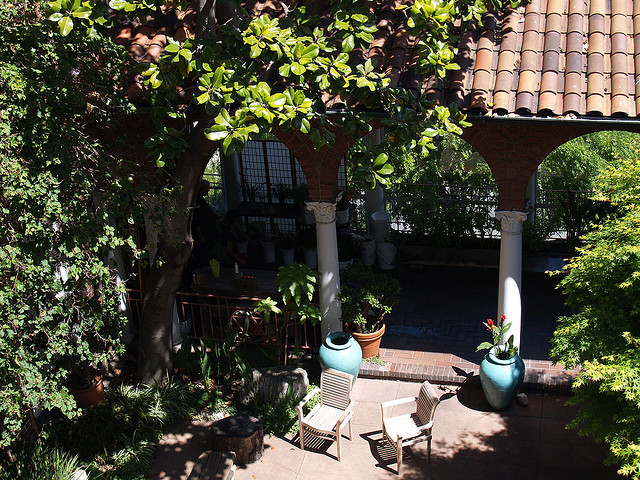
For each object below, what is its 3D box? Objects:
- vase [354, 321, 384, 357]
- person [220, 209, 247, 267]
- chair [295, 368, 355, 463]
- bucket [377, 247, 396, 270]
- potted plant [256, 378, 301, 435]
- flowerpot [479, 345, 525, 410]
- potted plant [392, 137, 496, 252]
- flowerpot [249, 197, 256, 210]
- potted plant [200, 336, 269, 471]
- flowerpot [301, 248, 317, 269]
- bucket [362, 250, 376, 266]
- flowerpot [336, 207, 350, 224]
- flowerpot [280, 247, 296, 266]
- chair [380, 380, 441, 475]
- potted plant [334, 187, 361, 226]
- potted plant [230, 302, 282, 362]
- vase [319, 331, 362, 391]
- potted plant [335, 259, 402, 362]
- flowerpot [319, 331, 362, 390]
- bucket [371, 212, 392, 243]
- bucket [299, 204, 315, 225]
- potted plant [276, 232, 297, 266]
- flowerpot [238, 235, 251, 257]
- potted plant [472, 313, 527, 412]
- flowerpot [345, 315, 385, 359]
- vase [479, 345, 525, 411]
[{"bbox_3d":[1.019,2.030,10.730,0.495,0.474,0.556,-1,34,11],"label":"vase"},{"bbox_3d":[-2.191,-0.083,13.251,0.581,1.400,1.567,0,1,-8],"label":"person"},{"bbox_3d":[0.116,2.982,8.972,0.928,1.303,1.025,-4,17,-11],"label":"chair"},{"bbox_3d":[1.797,0.475,13.971,0.377,0.469,0.463,9,41,14],"label":"bucket"},{"bbox_3d":[-0.758,2.992,9.506,0.701,0.858,0.600,0,1,-8],"label":"potted plant"},{"bbox_3d":[3.225,2.449,9.294,0.697,1.012,0.749,19,28,39],"label":"flowerpot"},{"bbox_3d":[3.477,-1.114,14.941,2.763,2.767,2.863,0,1,-2],"label":"potted plant"},{"bbox_3d":[-1.910,-1.078,14.973,0.213,0.336,0.117,0,1,19],"label":"flowerpot"},{"bbox_3d":[-1.545,2.810,9.715,1.290,1.899,3.066,0,1,-14],"label":"potted plant"},{"bbox_3d":[-0.229,0.410,13.748,0.402,0.544,0.456,0,21,2],"label":"flowerpot"},{"bbox_3d":[1.337,0.466,14.245,0.336,0.453,0.390,-4,46,3],"label":"bucket"},{"bbox_3d":[0.635,-0.657,14.107,0.452,0.380,0.171,-1,1,-42],"label":"flowerpot"},{"bbox_3d":[-0.835,0.392,13.791,0.350,0.448,0.353,0,1,3],"label":"flowerpot"},{"bbox_3d":[1.529,3.208,8.833,0.750,1.210,0.818,-5,29,-12],"label":"chair"},{"bbox_3d":[0.711,-0.946,14.022,0.675,0.956,0.846,-6,46,-5],"label":"potted plant"},{"bbox_3d":[-1.345,1.805,10.886,0.819,1.502,0.359,-16,-4,3],"label":"potted plant"},{"bbox_3d":[0.366,2.247,10.135,0.779,1.153,0.881,-1,22,1],"label":"vase"},{"bbox_3d":[0.965,1.492,10.601,1.169,1.866,1.166,7,34,22],"label":"potted plant"},{"bbox_3d":[0.400,2.155,10.081,0.785,1.181,0.898,1,20,4],"label":"flowerpot"},{"bbox_3d":[1.687,-0.420,14.407,0.649,0.919,0.677,-4,38,3],"label":"bucket"},{"bbox_3d":[-0.329,-0.725,14.003,0.211,0.556,0.693,-1,1,-32],"label":"bucket"},{"bbox_3d":[-0.882,0.202,13.971,0.523,0.838,0.712,0,1,-7],"label":"potted plant"},{"bbox_3d":[-2.030,0.067,13.983,0.266,0.429,0.412,0,1,-10],"label":"flowerpot"},{"bbox_3d":[3.241,2.191,9.381,0.702,1.621,0.737,-16,23,-38],"label":"potted plant"},{"bbox_3d":[0.938,1.969,10.876,0.713,0.612,0.758,-20,34,-15],"label":"flowerpot"},{"bbox_3d":[3.306,2.602,9.498,0.751,1.167,0.875,-4,2,4],"label":"vase"}]
